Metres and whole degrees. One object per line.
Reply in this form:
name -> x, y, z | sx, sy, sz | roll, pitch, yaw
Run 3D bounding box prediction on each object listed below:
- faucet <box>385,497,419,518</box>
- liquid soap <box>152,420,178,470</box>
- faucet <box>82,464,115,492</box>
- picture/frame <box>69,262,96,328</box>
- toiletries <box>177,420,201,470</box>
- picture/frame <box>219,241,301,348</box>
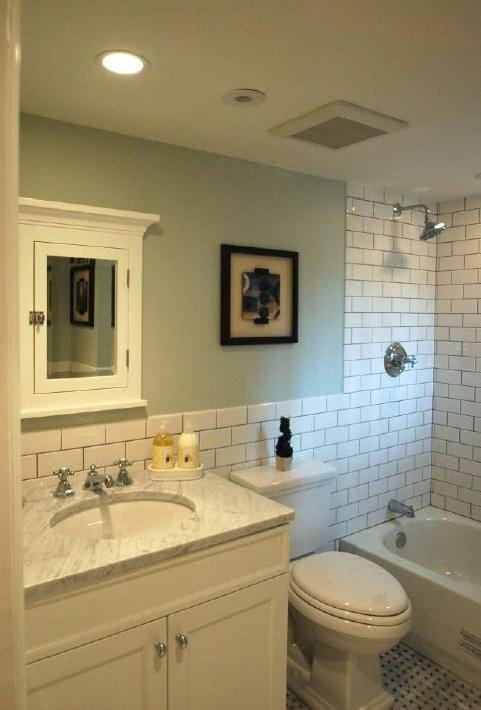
faucet -> 0.912, 0.865, 3.064 | 0.092, 0.090, 0.153 | 3, -1, -23
liquid soap -> -0.277, 0.332, 1.976 | 0.085, 0.151, 0.110 | 3, 6, -7
faucet -> -0.475, 0.407, 1.829 | 0.063, 0.083, 0.114 | 0, -1, -34
picture/frame -> -0.544, -0.202, 1.886 | 0.102, 0.190, 0.019 | 1, 1, 28
toiletries -> -0.189, 0.331, 2.010 | 0.087, 0.162, 0.103 | 3, 6, -7
picture/frame -> 0.070, -0.272, 2.389 | 0.454, 0.479, 0.031 | -3, 5, -38
